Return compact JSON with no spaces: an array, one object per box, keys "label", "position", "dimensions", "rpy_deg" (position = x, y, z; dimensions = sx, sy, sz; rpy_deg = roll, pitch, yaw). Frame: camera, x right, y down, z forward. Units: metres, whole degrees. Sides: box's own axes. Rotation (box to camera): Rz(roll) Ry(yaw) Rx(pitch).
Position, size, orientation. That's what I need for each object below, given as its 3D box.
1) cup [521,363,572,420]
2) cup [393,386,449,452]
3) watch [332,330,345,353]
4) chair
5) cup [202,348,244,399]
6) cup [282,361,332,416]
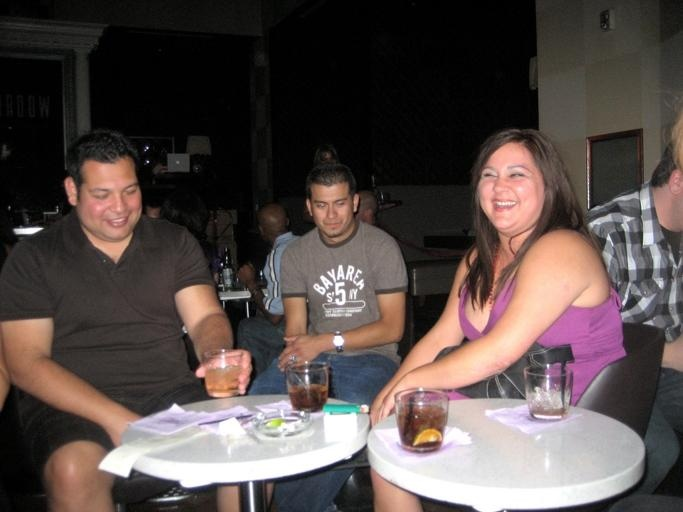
[{"label":"cup","position":[0.672,0.450,1.912],"dimensions":[0.173,0.172,0.156],"rpy_deg":[-2,-3,18]},{"label":"cup","position":[0.239,0.500,1.722],"dimensions":[0.149,0.137,0.171],"rpy_deg":[0,-9,2]},{"label":"watch","position":[-0.023,0.457,2.966],"dimensions":[0.058,0.090,0.086],"rpy_deg":[-1,-2,-5]},{"label":"chair","position":[1.033,0.502,2.343],"dimensions":[0.424,0.485,0.383],"rpy_deg":[0,-2,3]},{"label":"cup","position":[-0.424,0.443,2.161],"dimensions":[0.157,0.161,0.158],"rpy_deg":[0,-2,0]},{"label":"cup","position":[-0.124,0.472,1.986],"dimensions":[0.149,0.140,0.180],"rpy_deg":[-1,-9,-2]}]
